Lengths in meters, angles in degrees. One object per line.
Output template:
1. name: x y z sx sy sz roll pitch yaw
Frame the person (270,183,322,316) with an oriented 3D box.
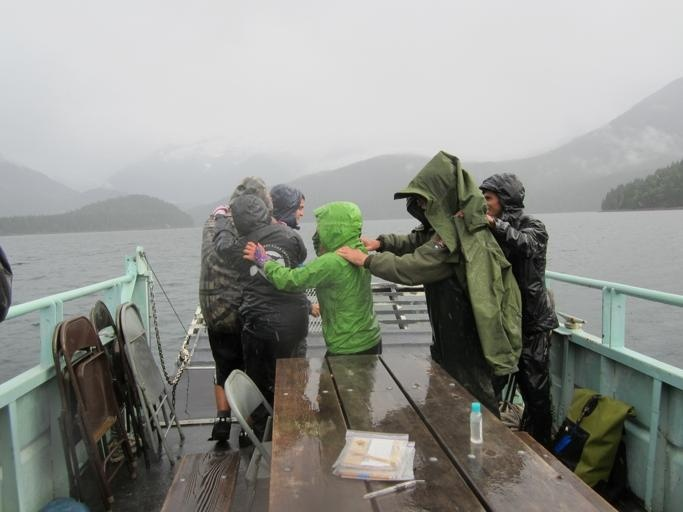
1. person: -0.446 -0.143 4.345 0.789 1.120 0.372 -7 10 -43
